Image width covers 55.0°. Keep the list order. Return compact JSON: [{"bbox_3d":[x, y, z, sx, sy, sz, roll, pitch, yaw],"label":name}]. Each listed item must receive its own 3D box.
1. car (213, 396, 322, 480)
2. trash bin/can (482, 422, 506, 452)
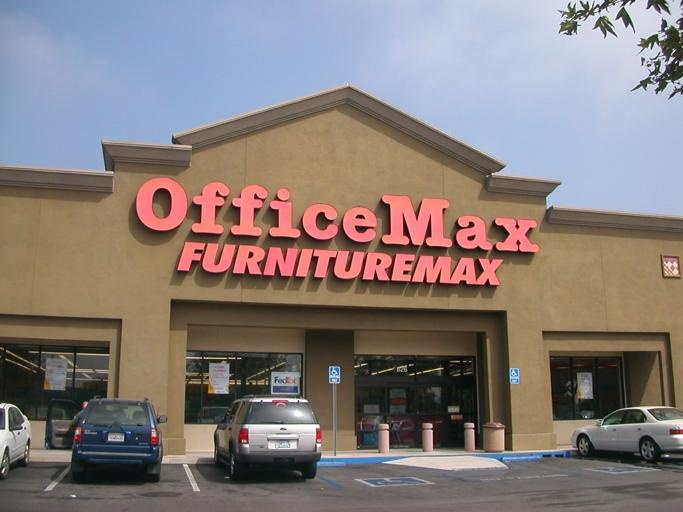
[{"bbox_3d":[-2.122,5.074,19.023,1.715,1.446,3.371,4,-11,-13],"label":"car"},{"bbox_3d":[5.844,6.927,25.111,0.963,1.069,1.014,-7,-13,33],"label":"trash bin/can"}]
